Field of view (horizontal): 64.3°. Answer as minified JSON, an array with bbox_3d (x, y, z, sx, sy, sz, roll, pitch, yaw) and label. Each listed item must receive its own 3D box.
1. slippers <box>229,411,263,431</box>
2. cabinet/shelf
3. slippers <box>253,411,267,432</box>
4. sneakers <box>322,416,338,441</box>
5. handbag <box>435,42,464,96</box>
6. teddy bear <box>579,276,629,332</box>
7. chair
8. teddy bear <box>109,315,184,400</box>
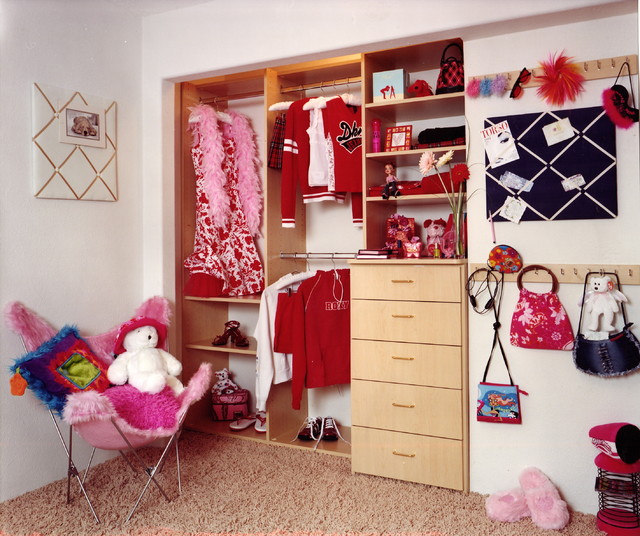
[{"bbox_3d":[-0.552,1.065,3.553,0.185,0.064,0.260,-2,-4,12],"label":"slippers"},{"bbox_3d":[0.143,-0.081,3.169,1.619,2.408,0.763,2,6,23],"label":"cabinet/shelf"},{"bbox_3d":[-0.425,1.040,3.466,0.072,0.056,0.195,0,4,-3],"label":"slippers"},{"bbox_3d":[0.050,1.053,3.335,0.084,0.091,0.241,0,-5,-4],"label":"sneakers"},{"bbox_3d":[0.733,-1.094,2.810,0.170,0.295,0.127,1,5,5],"label":"handbag"},{"bbox_3d":[1.359,0.164,2.386,0.245,0.307,0.066,-1,-1,44],"label":"teddy bear"},{"bbox_3d":[-1.067,0.568,2.794,0.960,1.176,1.046,-2,-1,40],"label":"chair"},{"bbox_3d":[-1.000,0.484,2.842,0.411,0.481,0.365,-8,-13,12],"label":"teddy bear"}]
